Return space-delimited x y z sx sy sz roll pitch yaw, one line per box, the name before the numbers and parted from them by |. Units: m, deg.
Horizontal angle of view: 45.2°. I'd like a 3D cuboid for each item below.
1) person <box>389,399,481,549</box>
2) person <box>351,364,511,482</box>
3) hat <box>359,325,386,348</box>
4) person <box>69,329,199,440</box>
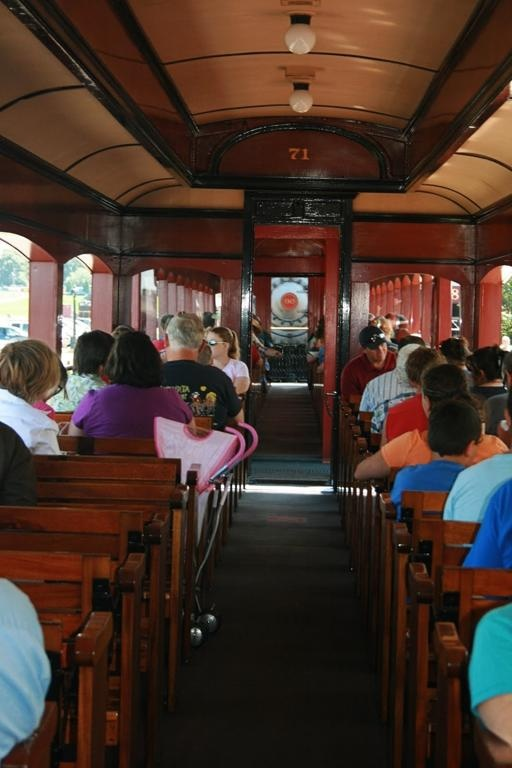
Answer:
person | 0.791 0.406 2.686 0.366 0.709 0.376 10 40 11
person | 1.065 0.229 3.693 0.902 0.953 0.559 0 25 9
hat | 1.196 -0.474 6.417 0.195 0.151 0.265 -35 2 -4
person | -0.731 0.075 3.705 0.768 0.721 0.432 1 5 -3
